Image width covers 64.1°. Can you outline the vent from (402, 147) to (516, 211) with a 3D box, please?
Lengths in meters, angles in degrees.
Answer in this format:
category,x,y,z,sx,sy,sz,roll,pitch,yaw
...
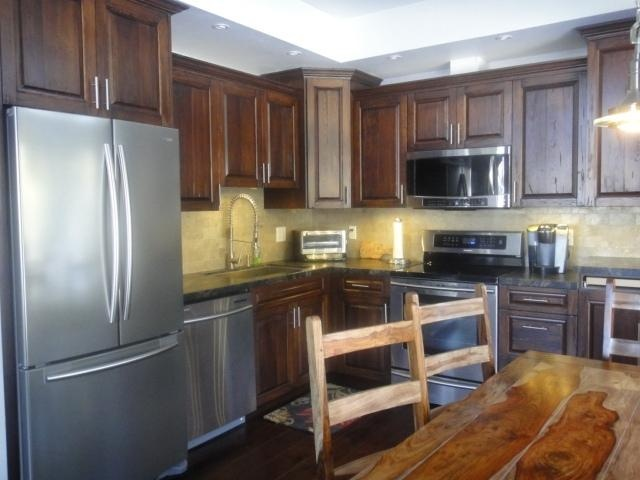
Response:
category,x,y,z,sx,sy,sz,roll,pitch,yaw
vent,1.118,-0.475,4.049,0.813,0.498,0.451,-1,-4,33

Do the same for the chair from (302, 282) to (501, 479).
category,x,y,z,sx,sy,sz,roll,pitch,yaw
chair,0.441,0.706,2.642,1.152,0.853,0.403,-2,1,-38

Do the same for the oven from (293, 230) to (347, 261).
category,x,y,z,sx,sy,sz,roll,pitch,yaw
oven,0.013,0.042,4.560,0.380,0.237,0.278,0,-1,-20

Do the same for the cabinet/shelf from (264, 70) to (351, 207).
category,x,y,z,sx,sy,sz,roll,pitch,yaw
cabinet/shelf,-0.161,-0.866,4.675,0.832,1.351,0.858,10,16,29

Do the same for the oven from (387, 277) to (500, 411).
category,x,y,z,sx,sy,sz,roll,pitch,yaw
oven,1.087,0.762,4.075,0.881,1.172,0.847,6,13,39

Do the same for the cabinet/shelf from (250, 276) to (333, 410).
category,x,y,z,sx,sy,sz,roll,pitch,yaw
cabinet/shelf,-0.238,0.707,3.476,0.372,0.807,0.975,-2,0,31

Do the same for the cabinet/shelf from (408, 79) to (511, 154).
category,x,y,z,sx,sy,sz,roll,pitch,yaw
cabinet/shelf,1.187,-1.006,4.187,0.971,0.604,0.357,6,12,44

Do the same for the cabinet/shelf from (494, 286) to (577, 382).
category,x,y,z,sx,sy,sz,roll,pitch,yaw
cabinet/shelf,1.501,0.636,3.641,0.581,0.850,0.554,-3,-8,33

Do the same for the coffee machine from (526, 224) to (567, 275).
category,x,y,z,sx,sy,sz,roll,pitch,yaw
coffee machine,1.638,0.062,3.687,0.303,0.403,0.340,-2,-4,25

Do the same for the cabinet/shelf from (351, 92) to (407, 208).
category,x,y,z,sx,sy,sz,roll,pitch,yaw
cabinet/shelf,0.500,-0.771,4.414,0.459,0.932,0.198,1,11,17

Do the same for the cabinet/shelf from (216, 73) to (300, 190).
category,x,y,z,sx,sy,sz,roll,pitch,yaw
cabinet/shelf,-0.575,-0.831,4.121,0.363,0.823,0.957,3,7,34
